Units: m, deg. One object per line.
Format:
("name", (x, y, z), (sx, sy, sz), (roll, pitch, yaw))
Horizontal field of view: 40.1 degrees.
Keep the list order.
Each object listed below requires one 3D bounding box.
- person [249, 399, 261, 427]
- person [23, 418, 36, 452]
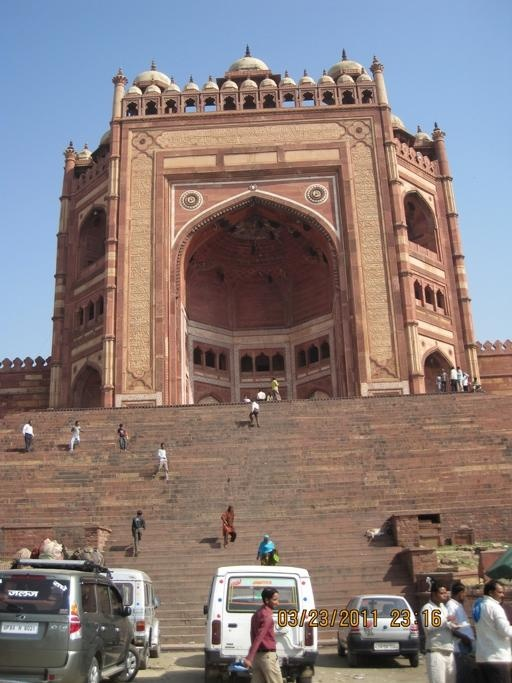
("person", (-0.046, 2.036, 19.527), (0.286, 0.780, 0.569), (-3, -17, -1))
("person", (-6.112, 2.526, 18.857), (0.300, 1.012, 1.199), (3, -18, -18))
